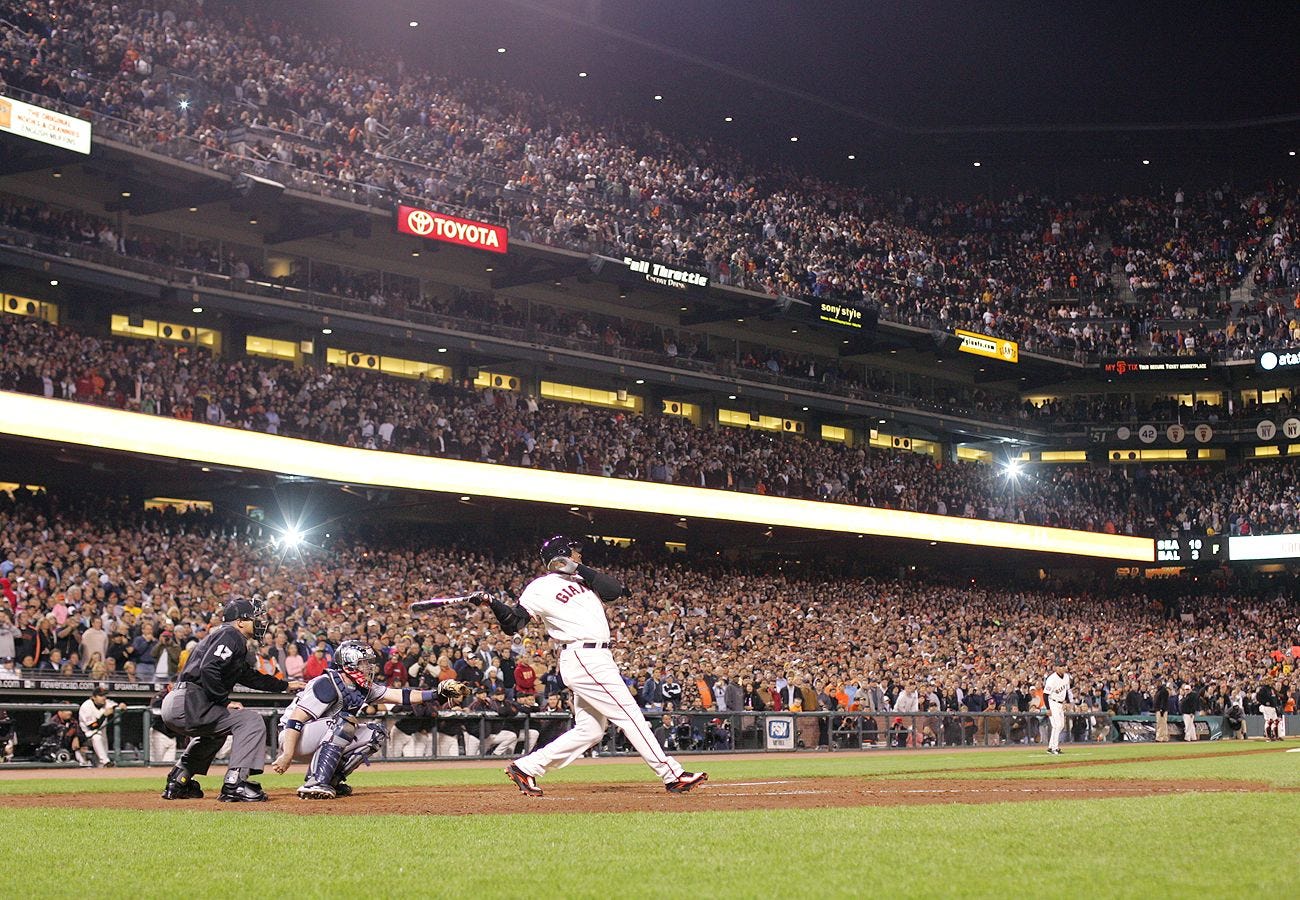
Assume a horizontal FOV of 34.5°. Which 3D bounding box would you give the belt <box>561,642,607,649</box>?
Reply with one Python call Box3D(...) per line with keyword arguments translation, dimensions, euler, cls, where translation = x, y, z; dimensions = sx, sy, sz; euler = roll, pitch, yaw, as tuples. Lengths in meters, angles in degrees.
Box3D(translation=(-1.203, 3.696, 40.241), dimensions=(0.776, 0.149, 0.248), euler=(3, -13, -11), cls="belt")
